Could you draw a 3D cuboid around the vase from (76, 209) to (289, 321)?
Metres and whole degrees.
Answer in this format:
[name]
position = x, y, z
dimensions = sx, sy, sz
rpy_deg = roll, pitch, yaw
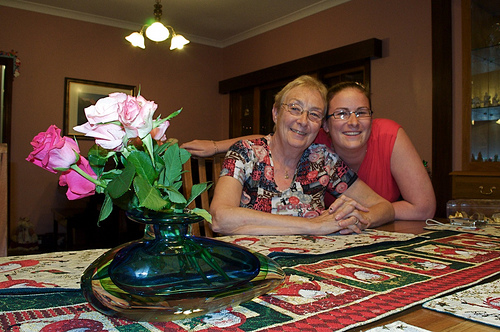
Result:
[vase]
position = -0.112, 0.235, 0.804
dimensions = 0.261, 0.163, 0.350
rpy_deg = 4, 10, 44
